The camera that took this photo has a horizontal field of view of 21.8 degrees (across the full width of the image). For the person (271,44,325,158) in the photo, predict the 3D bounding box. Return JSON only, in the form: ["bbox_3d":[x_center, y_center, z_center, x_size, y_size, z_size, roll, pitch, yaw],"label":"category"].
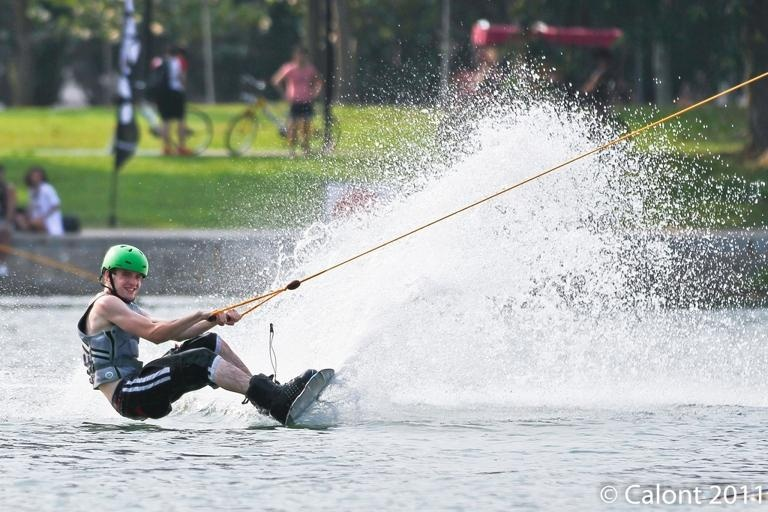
[{"bbox_3d":[-1.634,-3.012,38.095,0.875,2.301,0.791,3,-7,2],"label":"person"}]

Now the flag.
[{"bbox_3d":[-3.596,-2.488,28.193,0.328,2.307,0.877,2,8,-7],"label":"flag"}]
